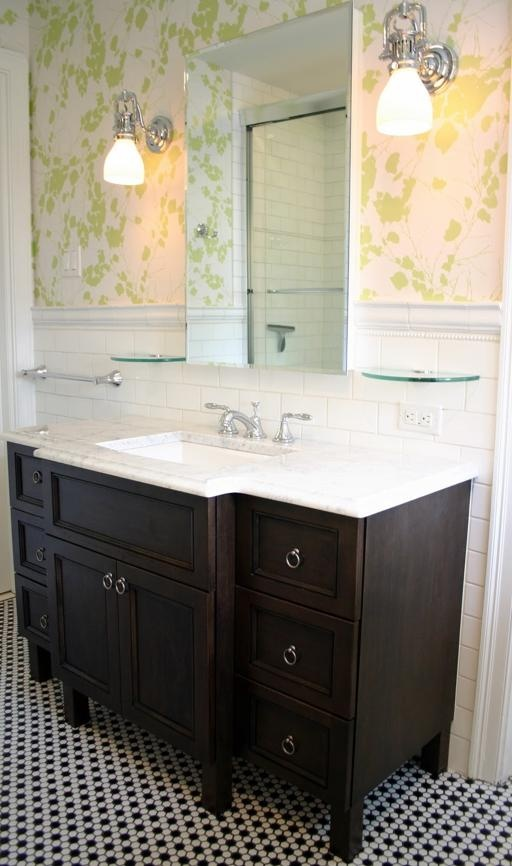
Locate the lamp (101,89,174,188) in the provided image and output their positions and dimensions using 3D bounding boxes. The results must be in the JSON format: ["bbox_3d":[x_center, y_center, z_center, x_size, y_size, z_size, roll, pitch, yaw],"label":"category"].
[{"bbox_3d":[-0.408,-1.052,2.222,0.220,0.422,0.451,0,3,-8],"label":"lamp"}]

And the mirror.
[{"bbox_3d":[0.017,-0.691,1.889,0.147,1.028,0.748,-2,4,-42],"label":"mirror"}]

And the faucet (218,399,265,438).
[{"bbox_3d":[-0.038,-0.042,1.968,0.073,0.129,0.181,-3,9,-31],"label":"faucet"}]

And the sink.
[{"bbox_3d":[-0.162,0.053,1.899,0.581,0.092,0.271,1,3,9],"label":"sink"}]
